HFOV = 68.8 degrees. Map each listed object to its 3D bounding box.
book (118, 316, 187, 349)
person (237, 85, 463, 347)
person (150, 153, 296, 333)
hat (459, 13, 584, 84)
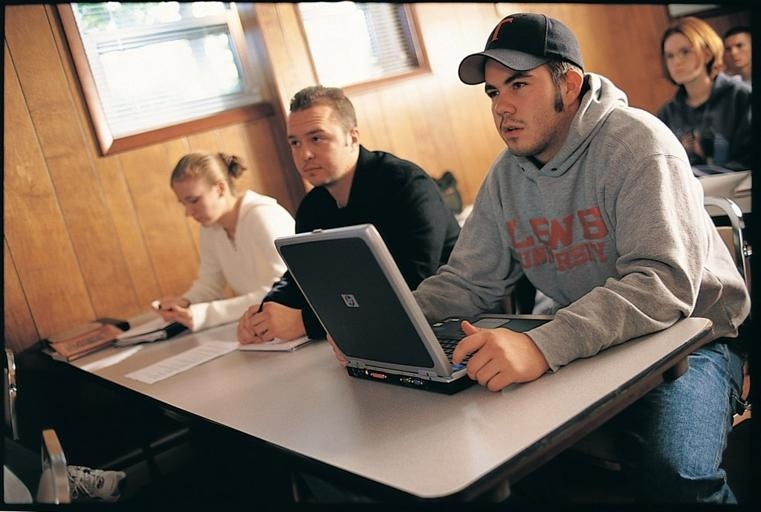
[{"bbox_3d":[-1.000,0.334,2.413,0.176,0.038,0.168,-16,4,-41],"label":"book"},{"bbox_3d":[-0.112,-0.197,2.563,1.213,0.872,0.823,0,-8,-36],"label":"person"},{"bbox_3d":[-0.650,-0.157,3.098,1.009,0.946,0.699,-8,4,-35],"label":"person"},{"bbox_3d":[0.435,-0.627,1.789,0.339,0.171,0.228,4,9,-10],"label":"hat"}]
